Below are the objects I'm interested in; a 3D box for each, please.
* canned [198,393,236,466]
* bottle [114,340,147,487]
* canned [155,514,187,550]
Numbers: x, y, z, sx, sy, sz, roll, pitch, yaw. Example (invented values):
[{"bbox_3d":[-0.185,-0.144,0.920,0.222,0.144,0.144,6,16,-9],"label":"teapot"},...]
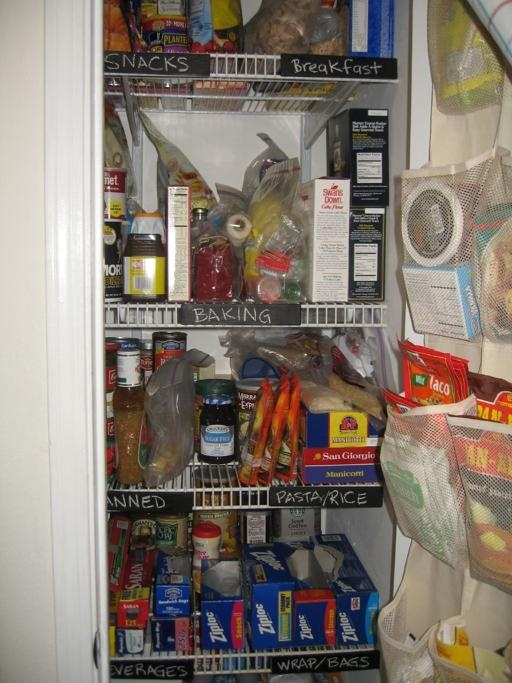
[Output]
[{"bbox_3d":[-0.078,0.179,1.188,0.077,0.139,0.079,1,3,3],"label":"canned"},{"bbox_3d":[-0.241,0.141,1.122,0.066,0.263,0.068,-3,6,0],"label":"bottle"},{"bbox_3d":[-0.188,0.435,1.328,0.069,0.083,0.071,2,7,3],"label":"canned"}]
